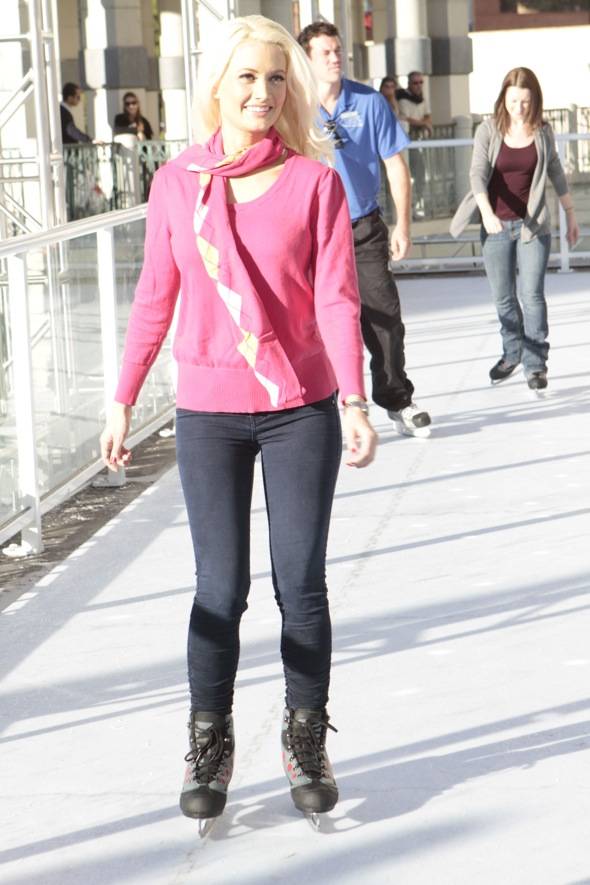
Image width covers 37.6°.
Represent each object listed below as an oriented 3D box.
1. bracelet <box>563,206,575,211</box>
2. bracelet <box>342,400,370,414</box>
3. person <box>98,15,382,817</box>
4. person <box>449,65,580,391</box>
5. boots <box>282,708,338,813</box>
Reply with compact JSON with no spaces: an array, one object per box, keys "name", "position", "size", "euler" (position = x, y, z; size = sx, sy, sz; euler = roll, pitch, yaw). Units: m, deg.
[{"name":"bracelet","position":[2.042,-1.744,6.428],"size":[0.073,0.018,0.070],"euler":[-29,46,-35]},{"name":"bracelet","position":[0.115,-0.070,1.543],"size":[0.037,0.023,0.035],"euler":[1,-5,-7]},{"name":"person","position":[-0.110,0.089,1.615],"size":[0.493,1.308,0.386],"euler":[-3,9,-4]},{"name":"person","position":[1.567,-1.485,6.201],"size":[0.636,2.218,0.856],"euler":[5,11,37]},{"name":"boots","position":[0.013,0.619,1.717],"size":[0.086,0.096,0.234],"euler":[-4,21,-7]}]
